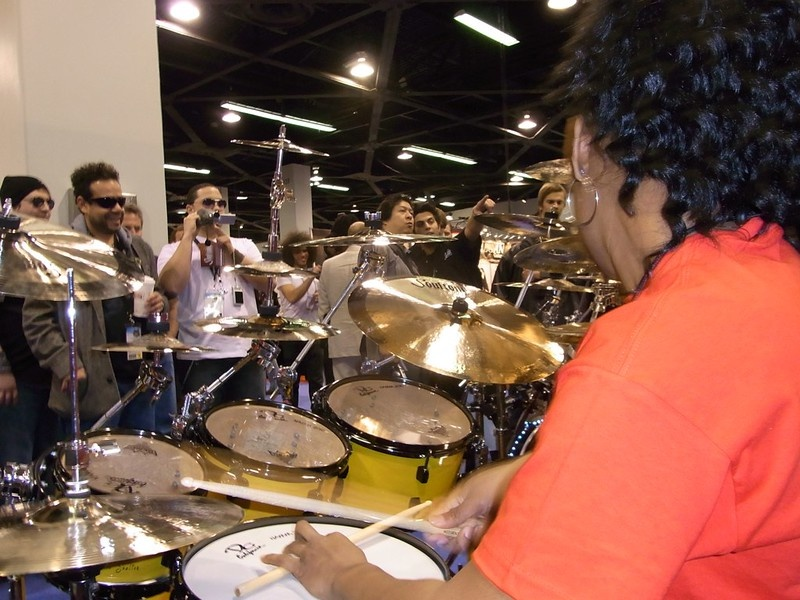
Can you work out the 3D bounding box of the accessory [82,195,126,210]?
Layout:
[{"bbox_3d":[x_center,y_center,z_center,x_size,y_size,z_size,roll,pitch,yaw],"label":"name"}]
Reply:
[{"bbox_3d":[-1.590,-0.505,3.563,0.113,0.027,0.111,-17,-11,33],"label":"accessory"}]

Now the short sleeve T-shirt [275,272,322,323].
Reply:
[{"bbox_3d":[-0.818,-0.022,5.230,0.459,0.323,0.218,11,-34,-26],"label":"short sleeve T-shirt"}]

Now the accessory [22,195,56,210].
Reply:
[{"bbox_3d":[-1.882,-0.502,3.440,0.075,0.070,0.023,23,23,-49],"label":"accessory"}]

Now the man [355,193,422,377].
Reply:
[{"bbox_3d":[0.091,-0.145,5.036,0.541,1.311,0.556,-16,18,4],"label":"man"}]

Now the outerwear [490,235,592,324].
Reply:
[{"bbox_3d":[1.153,-0.176,4.908,0.748,0.584,0.691,14,12,14],"label":"outerwear"}]

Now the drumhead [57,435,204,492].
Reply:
[{"bbox_3d":[-0.819,0.524,2.074,0.348,0.073,0.320,11,10,-41],"label":"drumhead"}]
